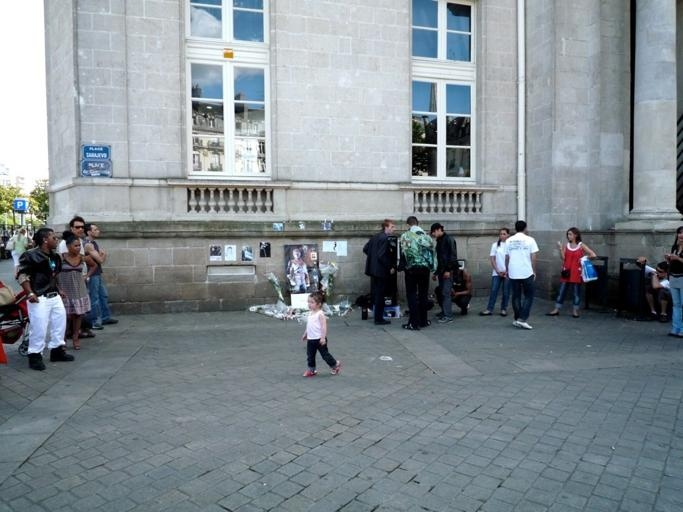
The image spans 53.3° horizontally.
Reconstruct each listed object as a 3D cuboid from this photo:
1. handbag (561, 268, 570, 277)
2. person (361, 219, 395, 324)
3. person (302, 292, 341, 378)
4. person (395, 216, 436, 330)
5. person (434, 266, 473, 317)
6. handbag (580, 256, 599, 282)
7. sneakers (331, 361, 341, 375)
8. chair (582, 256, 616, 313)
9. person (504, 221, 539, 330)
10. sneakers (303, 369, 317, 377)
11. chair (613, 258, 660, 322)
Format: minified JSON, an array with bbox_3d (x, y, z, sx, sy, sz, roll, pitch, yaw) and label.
[{"bbox_3d":[4.686,0.394,14.276,0.144,0.151,0.149,-3,7,-7],"label":"handbag"},{"bbox_3d":[0.760,0.341,13.410,0.583,2.019,0.781,2,12,4],"label":"person"},{"bbox_3d":[-0.292,1.177,10.188,0.555,1.244,0.513,0,12,-2],"label":"person"},{"bbox_3d":[1.433,0.389,12.933,0.684,2.072,0.838,2,12,8],"label":"person"},{"bbox_3d":[2.314,0.682,14.344,0.772,1.076,0.665,5,12,-1],"label":"person"},{"bbox_3d":[5.130,0.310,14.131,0.313,0.526,0.444,5,13,19],"label":"handbag"},{"bbox_3d":[-0.082,1.732,10.170,0.086,0.102,0.240,2,49,16],"label":"sneakers"},{"bbox_3d":[5.487,0.605,14.933,0.721,1.082,0.769,-4,-6,43],"label":"chair"},{"bbox_3d":[3.473,0.398,13.283,0.614,2.037,1.425,4,12,14],"label":"person"},{"bbox_3d":[-0.474,1.795,10.118,0.205,0.094,0.075,1,2,-17],"label":"sneakers"},{"bbox_3d":[6.084,0.657,14.108,0.908,1.129,0.778,1,0,31],"label":"chair"}]
